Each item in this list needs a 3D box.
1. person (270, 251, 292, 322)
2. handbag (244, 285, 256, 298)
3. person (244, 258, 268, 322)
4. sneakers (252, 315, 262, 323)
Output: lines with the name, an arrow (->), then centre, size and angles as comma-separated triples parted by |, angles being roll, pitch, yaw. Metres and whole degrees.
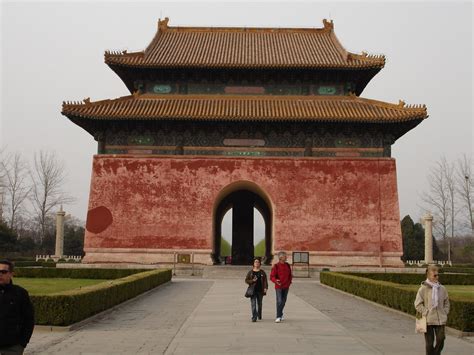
person -> 1.103, 2.682, 13.699 | 0.534, 1.680, 1.119 | 0, -2, 3
handbag -> 0.333, 2.789, 13.354 | 0.215, 0.325, 0.304 | 0, -2, 1
person -> 0.508, 2.786, 13.805 | 0.515, 1.490, 1.300 | 0, -2, 4
sneakers -> 0.485, 3.462, 13.323 | 0.098, 0.130, 0.302 | -4, -20, 13
